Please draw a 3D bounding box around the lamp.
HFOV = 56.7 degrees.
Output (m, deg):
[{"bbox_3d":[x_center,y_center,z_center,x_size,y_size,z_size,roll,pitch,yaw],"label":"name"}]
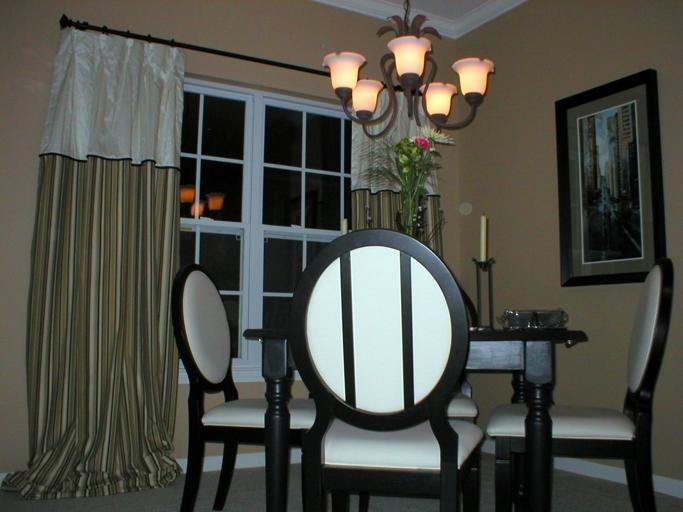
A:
[{"bbox_3d":[0.396,-1.046,4.159,1.041,1.089,1.182,0,-2,-5],"label":"lamp"}]
